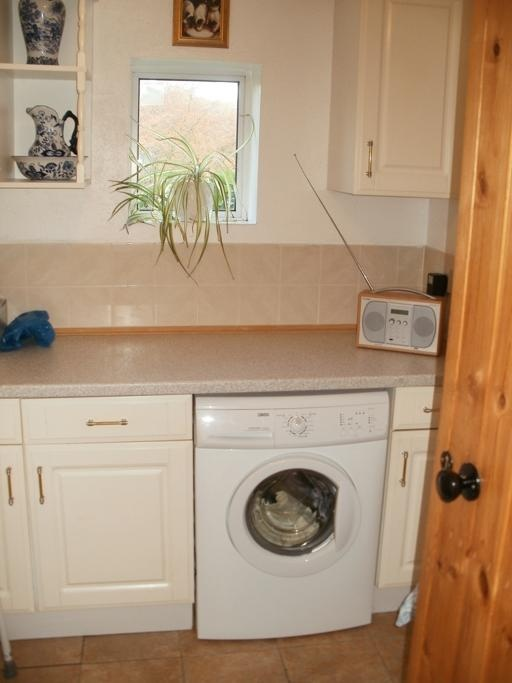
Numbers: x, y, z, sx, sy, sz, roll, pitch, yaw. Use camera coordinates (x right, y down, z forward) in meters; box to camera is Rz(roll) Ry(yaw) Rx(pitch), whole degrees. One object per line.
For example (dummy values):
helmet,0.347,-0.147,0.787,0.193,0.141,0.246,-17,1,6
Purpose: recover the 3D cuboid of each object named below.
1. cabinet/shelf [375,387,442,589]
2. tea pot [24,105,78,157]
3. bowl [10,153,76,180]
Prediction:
cabinet/shelf,0.498,0.476,1.964,0.268,0.630,0.197,-2,18,-18
tea pot,-0.687,-0.702,1.946,0.171,0.189,0.127,-8,28,-26
bowl,-0.700,-0.575,1.887,0.222,0.083,0.183,-3,22,-14
